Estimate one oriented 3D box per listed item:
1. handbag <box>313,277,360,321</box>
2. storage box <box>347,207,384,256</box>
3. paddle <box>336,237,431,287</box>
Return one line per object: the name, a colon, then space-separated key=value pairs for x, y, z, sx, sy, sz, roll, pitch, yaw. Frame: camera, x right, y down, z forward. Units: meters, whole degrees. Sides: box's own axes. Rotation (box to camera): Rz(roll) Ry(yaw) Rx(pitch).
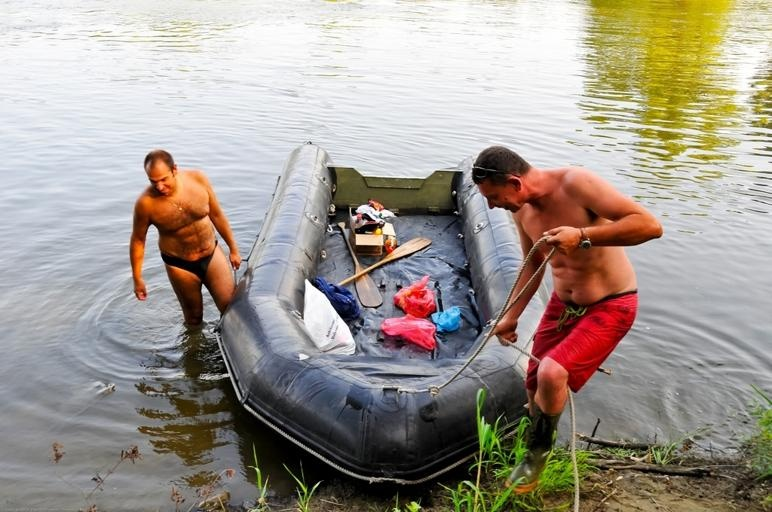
handbag: x=-0.696 y=0.647 z=9.903 sx=0.715 sy=0.250 sz=0.536 roll=36 pitch=21 yaw=5
storage box: x=-0.357 y=-0.657 z=10.983 sx=0.575 sy=0.441 sz=1.361 roll=-3 pitch=32 yaw=-7
paddle: x=-0.062 y=0.124 z=10.902 sx=2.054 sy=0.087 sz=0.293 roll=-21 pitch=47 yaw=-39
